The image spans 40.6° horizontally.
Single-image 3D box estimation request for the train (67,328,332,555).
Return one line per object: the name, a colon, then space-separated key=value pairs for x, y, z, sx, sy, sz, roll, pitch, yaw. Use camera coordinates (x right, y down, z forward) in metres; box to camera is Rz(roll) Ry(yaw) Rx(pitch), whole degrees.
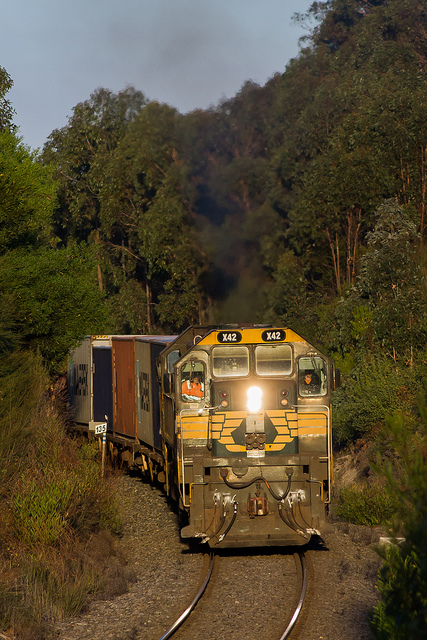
train: x=-0.744 y=1.853 z=15.177 sx=2.695 sy=3.792 sz=12.286 roll=0 pitch=1 yaw=-9
